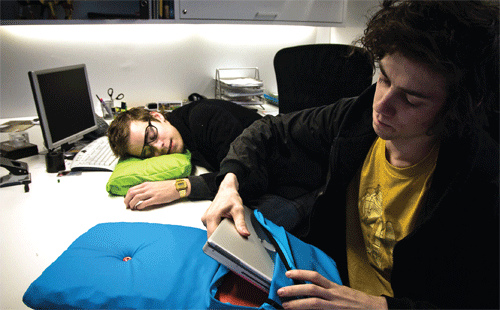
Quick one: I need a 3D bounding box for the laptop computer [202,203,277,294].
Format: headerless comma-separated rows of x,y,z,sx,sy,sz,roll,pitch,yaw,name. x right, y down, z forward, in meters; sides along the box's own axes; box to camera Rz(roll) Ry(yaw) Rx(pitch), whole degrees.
-0.024,0.361,1.447,0.260,0.199,0.329,1,18,9,laptop computer

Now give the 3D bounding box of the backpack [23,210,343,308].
-0.318,0.469,1.439,0.965,0.211,0.486,6,18,-3,backpack

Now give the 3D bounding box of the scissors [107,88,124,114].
-1.066,-0.427,2.851,0.126,0.016,0.322,8,45,-13,scissors

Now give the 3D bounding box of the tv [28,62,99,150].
-1.158,-0.286,2.218,0.076,0.510,0.548,6,24,22,tv

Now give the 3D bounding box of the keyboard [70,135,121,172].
-0.919,0.018,2.134,0.199,0.044,0.412,1,27,-10,keyboard

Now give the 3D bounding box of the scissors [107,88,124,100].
-1.092,-0.490,2.916,0.113,0.105,0.136,2,18,10,scissors

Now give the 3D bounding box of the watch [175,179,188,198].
-0.350,0.168,1.838,0.058,0.075,0.061,-11,20,-27,watch

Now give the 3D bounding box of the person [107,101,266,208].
-0.330,-0.067,2.052,0.786,0.281,0.577,-7,35,-19,person
